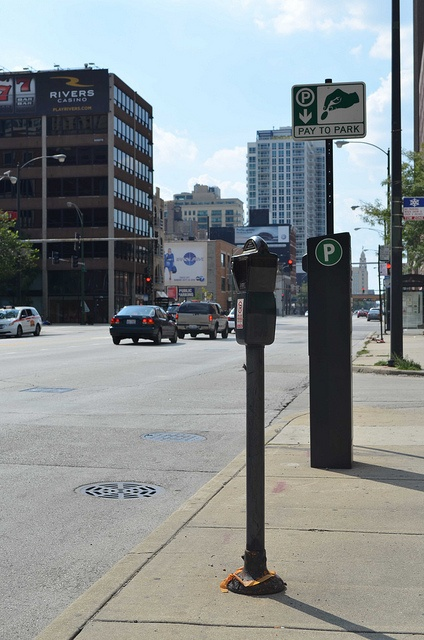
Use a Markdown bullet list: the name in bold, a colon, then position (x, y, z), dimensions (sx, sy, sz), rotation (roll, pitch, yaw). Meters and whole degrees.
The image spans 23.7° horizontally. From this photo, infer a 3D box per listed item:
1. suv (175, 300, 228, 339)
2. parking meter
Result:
- **suv**: position (-0.422, 0.034, 37.717), dimensions (1.699, 1.395, 2.589), rotation (0, 1, 9)
- **parking meter**: position (0.193, 0.416, 4.757), dimensions (0.301, 1.631, 0.534), rotation (0, 1, 3)
